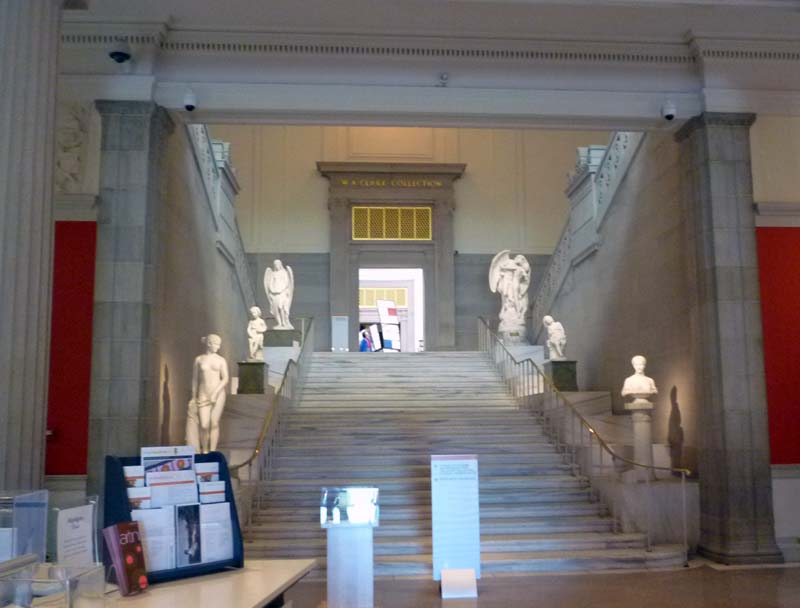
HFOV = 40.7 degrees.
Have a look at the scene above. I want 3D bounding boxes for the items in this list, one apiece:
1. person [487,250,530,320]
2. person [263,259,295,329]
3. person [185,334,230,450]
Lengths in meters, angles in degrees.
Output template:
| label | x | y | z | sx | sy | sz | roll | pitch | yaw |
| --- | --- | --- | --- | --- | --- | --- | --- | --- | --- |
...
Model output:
| label | x | y | z | sx | sy | sz | roll | pitch | yaw |
| --- | --- | --- | --- | --- | --- | --- | --- | --- | --- |
| person | 1.987 | -0.355 | 19.635 | 0.703 | 1.253 | 0.523 | -3 | -3 | 37 |
| person | -2.155 | -0.156 | 19.387 | 0.486 | 1.286 | 1.266 | -1 | -3 | -8 |
| person | -2.453 | 1.142 | 13.728 | 0.515 | 1.455 | 0.299 | -1 | -3 | -12 |
